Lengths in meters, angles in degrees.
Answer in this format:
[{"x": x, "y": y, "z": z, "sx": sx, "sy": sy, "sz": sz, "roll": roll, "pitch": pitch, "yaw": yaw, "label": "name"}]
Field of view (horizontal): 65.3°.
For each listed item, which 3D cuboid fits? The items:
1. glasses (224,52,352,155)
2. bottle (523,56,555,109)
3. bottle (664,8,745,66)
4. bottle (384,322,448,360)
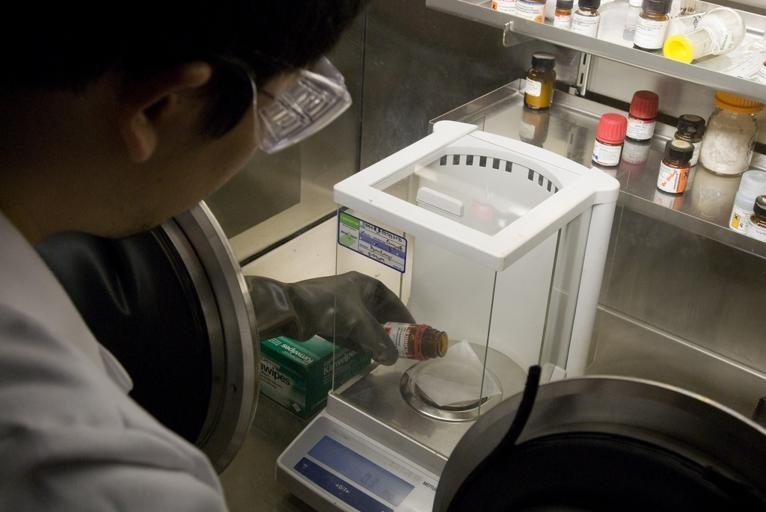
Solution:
[{"x": -0.085, "y": -0.144, "z": 0.587, "sx": 0.050, "sy": 0.109, "sz": 0.081, "roll": -52, "pitch": 34, "yaw": -5, "label": "glasses"}, {"x": 0.439, "y": -0.481, "z": 1.669, "sx": 0.082, "sy": 0.147, "sz": 0.084, "roll": 1, "pitch": 38, "yaw": -1, "label": "bottle"}, {"x": 0.685, "y": -0.464, "z": 1.275, "sx": 0.059, "sy": 0.065, "sz": 0.129, "roll": 21, "pitch": 37, "yaw": 37, "label": "bottle"}, {"x": 0.074, "y": 0.200, "z": 1.391, "sx": 0.073, "sy": 0.079, "sz": 0.134, "roll": -20, "pitch": -1, "yaw": -10, "label": "bottle"}]
